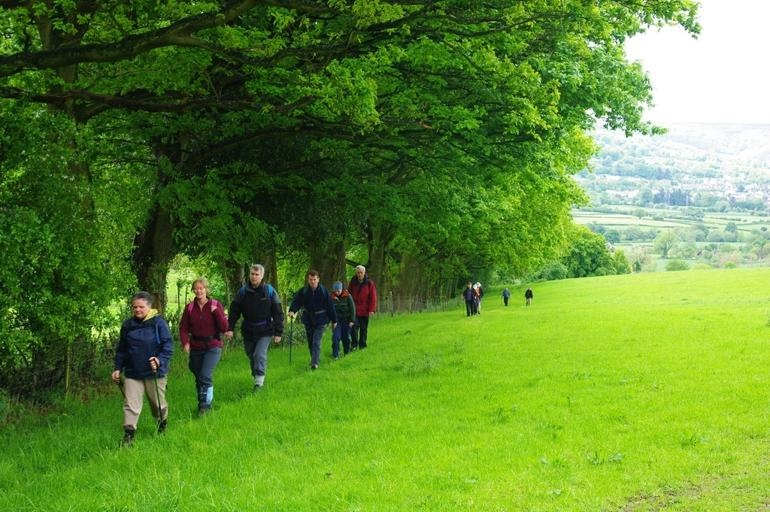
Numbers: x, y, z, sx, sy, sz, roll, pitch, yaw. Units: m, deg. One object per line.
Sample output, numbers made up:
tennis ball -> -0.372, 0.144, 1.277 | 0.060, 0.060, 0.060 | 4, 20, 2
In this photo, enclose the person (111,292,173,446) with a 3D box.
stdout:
person -> -5.630, 2.586, 20.343 | 1.316, 3.467, 0.726 | -5, 10, -18
